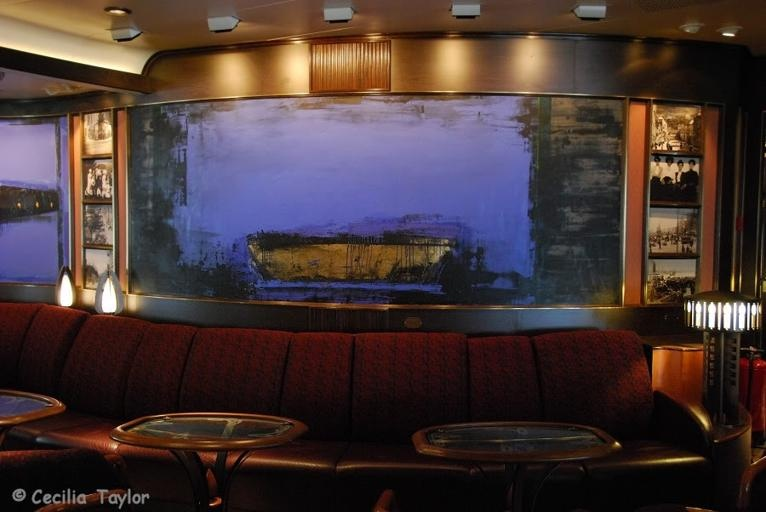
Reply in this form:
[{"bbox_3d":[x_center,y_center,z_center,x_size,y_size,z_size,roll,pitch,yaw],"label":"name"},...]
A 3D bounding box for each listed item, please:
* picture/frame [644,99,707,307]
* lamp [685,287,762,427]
[{"bbox_3d":[2.524,-0.448,6.430,0.538,1.731,0.118,-1,1,-18],"label":"picture/frame"},{"bbox_3d":[2.674,0.792,5.856,0.545,1.021,0.343,0,1,24],"label":"lamp"}]
